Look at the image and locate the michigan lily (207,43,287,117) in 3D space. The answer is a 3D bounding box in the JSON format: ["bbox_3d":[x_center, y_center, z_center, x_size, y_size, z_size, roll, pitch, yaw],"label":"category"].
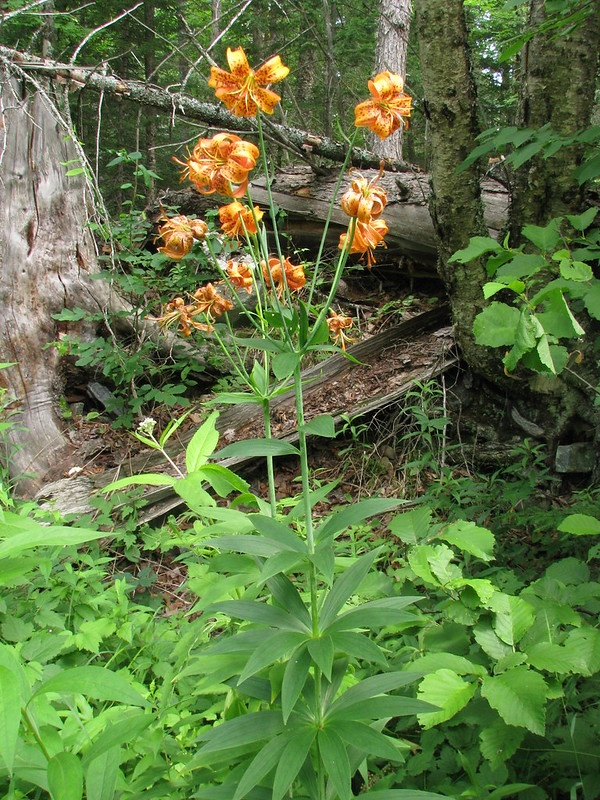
[{"bbox_3d":[-0.133,-0.754,1.617,0.191,0.166,0.101,-20,24,6],"label":"michigan lily"}]

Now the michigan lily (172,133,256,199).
[{"bbox_3d":[-0.193,-0.587,1.714,0.240,0.165,0.127,-3,10,23],"label":"michigan lily"}]
